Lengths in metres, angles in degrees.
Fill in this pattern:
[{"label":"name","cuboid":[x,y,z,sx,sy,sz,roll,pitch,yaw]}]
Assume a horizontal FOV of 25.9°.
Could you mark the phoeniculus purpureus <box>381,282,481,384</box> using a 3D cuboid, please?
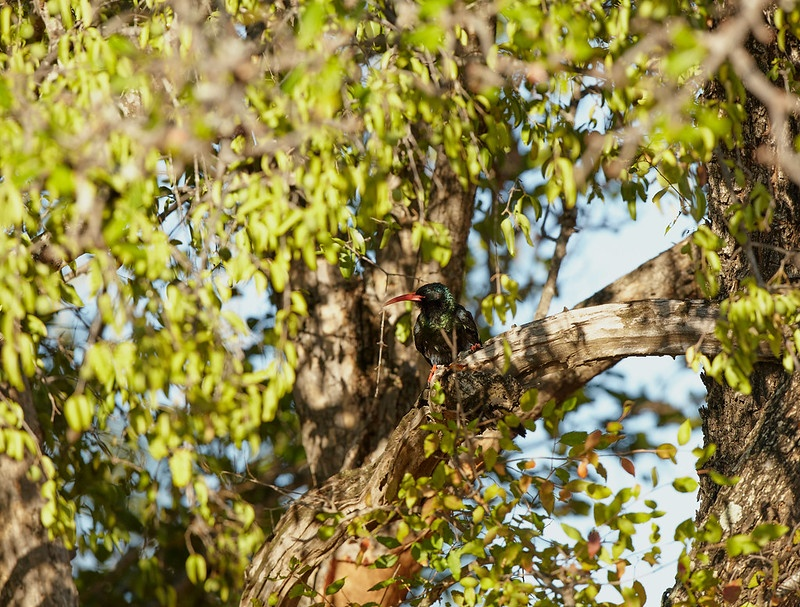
[{"label":"phoeniculus purpureus","cuboid":[0.265,0.163,11.379,0.414,0.654,0.828,-10,-3,27]}]
